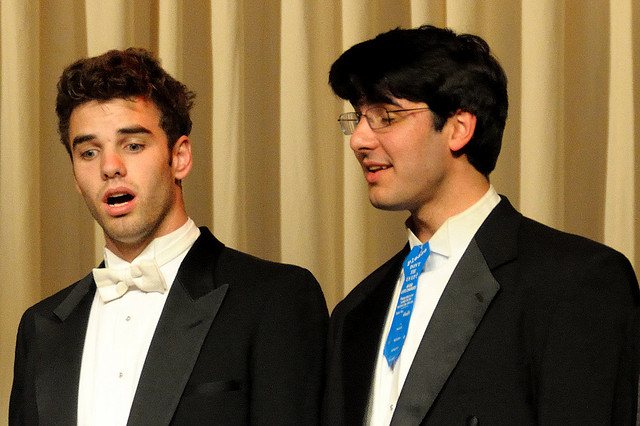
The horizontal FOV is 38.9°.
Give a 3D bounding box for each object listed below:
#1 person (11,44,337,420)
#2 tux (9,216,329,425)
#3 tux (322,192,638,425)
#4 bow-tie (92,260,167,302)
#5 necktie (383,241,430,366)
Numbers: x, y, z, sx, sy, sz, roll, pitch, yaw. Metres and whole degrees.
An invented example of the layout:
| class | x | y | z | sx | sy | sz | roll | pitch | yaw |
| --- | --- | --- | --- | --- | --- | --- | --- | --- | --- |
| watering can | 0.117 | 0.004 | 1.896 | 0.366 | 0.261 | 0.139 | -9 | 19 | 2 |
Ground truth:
| class | x | y | z | sx | sy | sz | roll | pitch | yaw |
| --- | --- | --- | --- | --- | --- | --- | --- | --- | --- |
| person | -0.416 | 0.057 | 2.807 | 0.739 | 1.470 | 0.440 | -12 | -14 | 19 |
| tux | -0.398 | 0.657 | 2.601 | 0.892 | 0.923 | 0.513 | -8 | -24 | 19 |
| tux | 0.415 | 0.259 | 2.391 | 0.812 | 0.597 | 0.262 | -5 | -6 | 19 |
| bow-tie | -0.540 | 0.192 | 2.572 | 0.180 | 0.111 | 0.047 | -7 | 8 | 9 |
| necktie | 0.233 | 0.239 | 2.442 | 0.025 | 0.348 | 0.111 | 27 | -20 | -25 |
